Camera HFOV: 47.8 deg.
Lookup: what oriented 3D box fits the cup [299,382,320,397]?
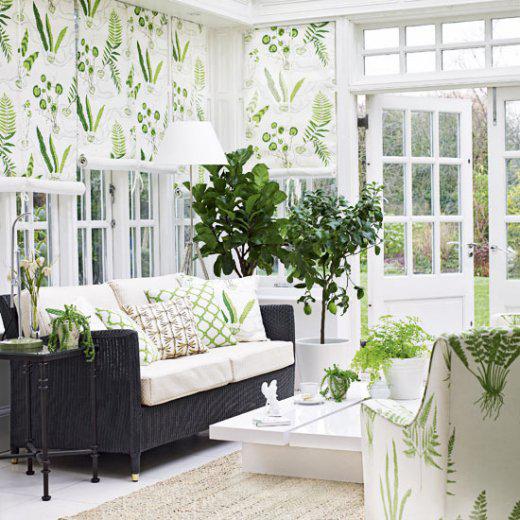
[{"bbox_3d":[0.277,0.709,3.227,0.079,0.071,0.089,0,1,-8],"label":"cup"}]

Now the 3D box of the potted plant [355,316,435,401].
[{"bbox_3d":[0.753,0.549,3.224,0.439,0.488,0.392,-1,-3,-24],"label":"potted plant"}]

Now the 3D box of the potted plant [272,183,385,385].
[{"bbox_3d":[0.496,0.179,4.319,0.666,1.405,0.543,6,11,25],"label":"potted plant"}]

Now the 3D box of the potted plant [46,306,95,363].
[{"bbox_3d":[-0.922,0.348,2.866,0.245,0.298,0.234,-1,1,-12],"label":"potted plant"}]

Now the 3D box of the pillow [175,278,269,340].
[{"bbox_3d":[-0.188,0.342,4.108,0.474,0.500,0.152,2,-27,-45],"label":"pillow"}]

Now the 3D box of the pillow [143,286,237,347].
[{"bbox_3d":[-0.362,0.342,3.853,0.422,0.449,0.132,-8,-13,-43],"label":"pillow"}]

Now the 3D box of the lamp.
[{"bbox_3d":[-0.502,-0.470,4.439,0.501,1.183,0.942,-1,-3,-4],"label":"lamp"}]
